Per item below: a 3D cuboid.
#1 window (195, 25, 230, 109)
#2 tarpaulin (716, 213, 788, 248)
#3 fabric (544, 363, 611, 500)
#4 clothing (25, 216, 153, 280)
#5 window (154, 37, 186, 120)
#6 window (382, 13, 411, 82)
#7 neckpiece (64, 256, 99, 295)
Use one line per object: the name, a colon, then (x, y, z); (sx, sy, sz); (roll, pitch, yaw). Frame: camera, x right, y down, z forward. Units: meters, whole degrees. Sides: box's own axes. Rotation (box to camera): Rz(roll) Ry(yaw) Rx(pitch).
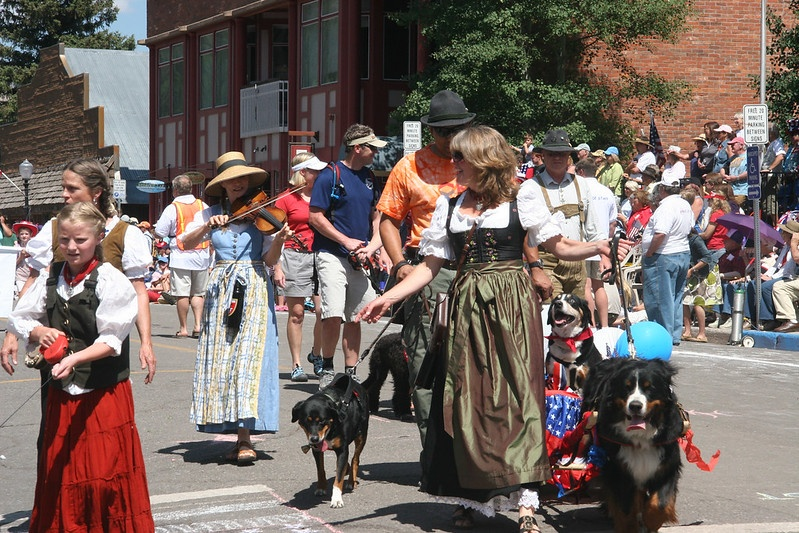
window: (-7.078, -7.687, 43.731); (0.144, 3.361, 3.552); (2, -2, -31)
tarpaulin: (5.890, -0.775, 19.820); (1.091, 0.277, 1.103); (-19, -4, 39)
fabric: (1.546, 1.592, 10.313); (0.787, 0.796, 0.351); (1, 16, 5)
clothing: (-2.694, -0.042, 10.411); (1.150, 0.823, 0.426); (-5, -1, 22)
window: (-9.440, -7.871, 47.387); (0.187, 3.630, 3.839); (2, -1, -33)
window: (-0.140, -6.886, 36.110); (1.113, 1.950, 0.079); (-6, 10, -41)
neckpiece: (-2.708, 0.080, 9.736); (0.222, 0.273, 0.149); (11, 10, -1)
